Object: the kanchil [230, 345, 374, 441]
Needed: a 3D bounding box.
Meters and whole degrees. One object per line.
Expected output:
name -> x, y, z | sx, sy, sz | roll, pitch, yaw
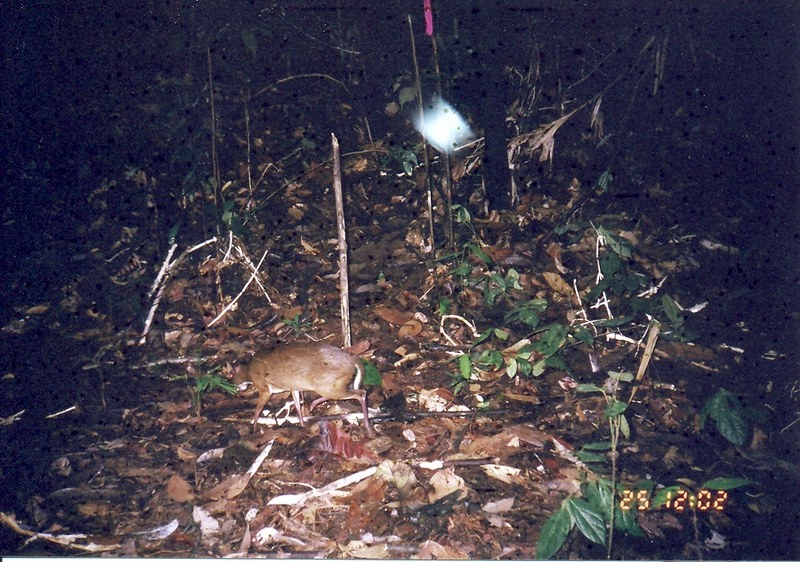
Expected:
kanchil -> -0.305, 0.341, 2.450 | 0.487, 0.308, 0.147 | -7, 21, 25
